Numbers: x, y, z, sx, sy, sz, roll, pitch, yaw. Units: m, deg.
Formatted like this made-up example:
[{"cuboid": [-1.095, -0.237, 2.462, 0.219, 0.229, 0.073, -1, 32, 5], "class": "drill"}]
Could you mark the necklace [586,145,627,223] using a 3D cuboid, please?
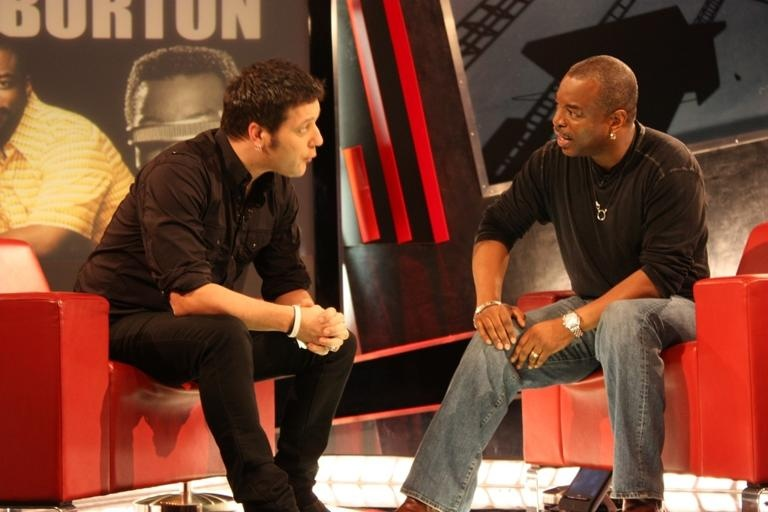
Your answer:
[{"cuboid": [0.868, -0.270, 3.023, 0.133, 0.235, 0.086, -1, 2, 35], "class": "necklace"}]

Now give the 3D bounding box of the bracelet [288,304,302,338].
[{"cuboid": [-0.309, 0.229, 2.696, 0.032, 0.088, 0.077, 2, -1, -12], "class": "bracelet"}]
